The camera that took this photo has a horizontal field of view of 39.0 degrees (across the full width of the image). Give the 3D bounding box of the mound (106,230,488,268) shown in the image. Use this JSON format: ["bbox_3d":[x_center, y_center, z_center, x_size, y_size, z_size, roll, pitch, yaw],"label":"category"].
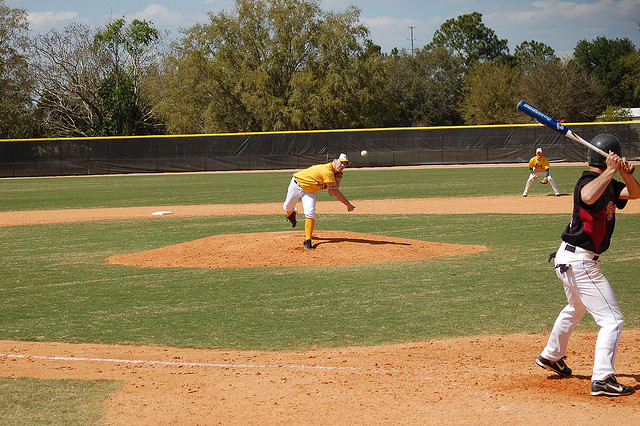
[{"bbox_3d":[-0.698,0.945,23.627,8.799,0.558,2.374,0,7,1],"label":"mound"}]
